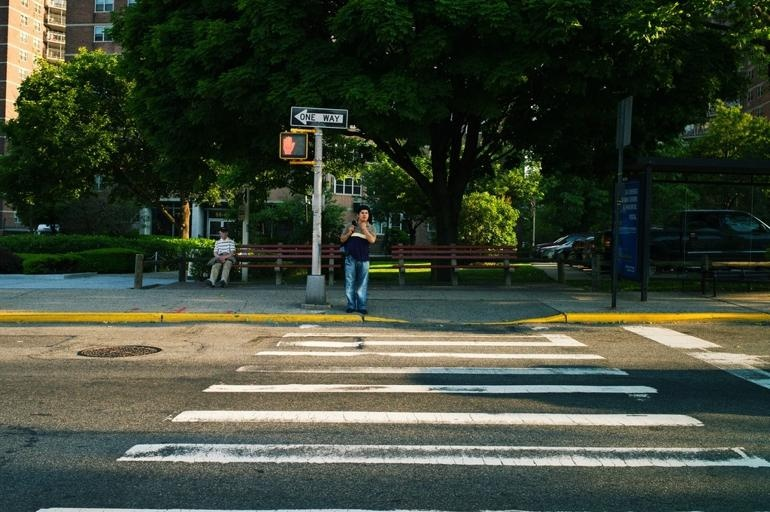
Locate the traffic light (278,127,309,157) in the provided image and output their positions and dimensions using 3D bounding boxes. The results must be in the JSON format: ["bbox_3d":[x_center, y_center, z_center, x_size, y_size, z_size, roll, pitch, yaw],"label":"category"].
[{"bbox_3d":[-2.201,-2.727,21.057,0.669,0.723,0.337,0,15,-4],"label":"traffic light"}]

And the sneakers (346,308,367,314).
[{"bbox_3d":[-0.678,1.312,20.750,0.547,0.185,0.162,-6,-1,27],"label":"sneakers"}]
